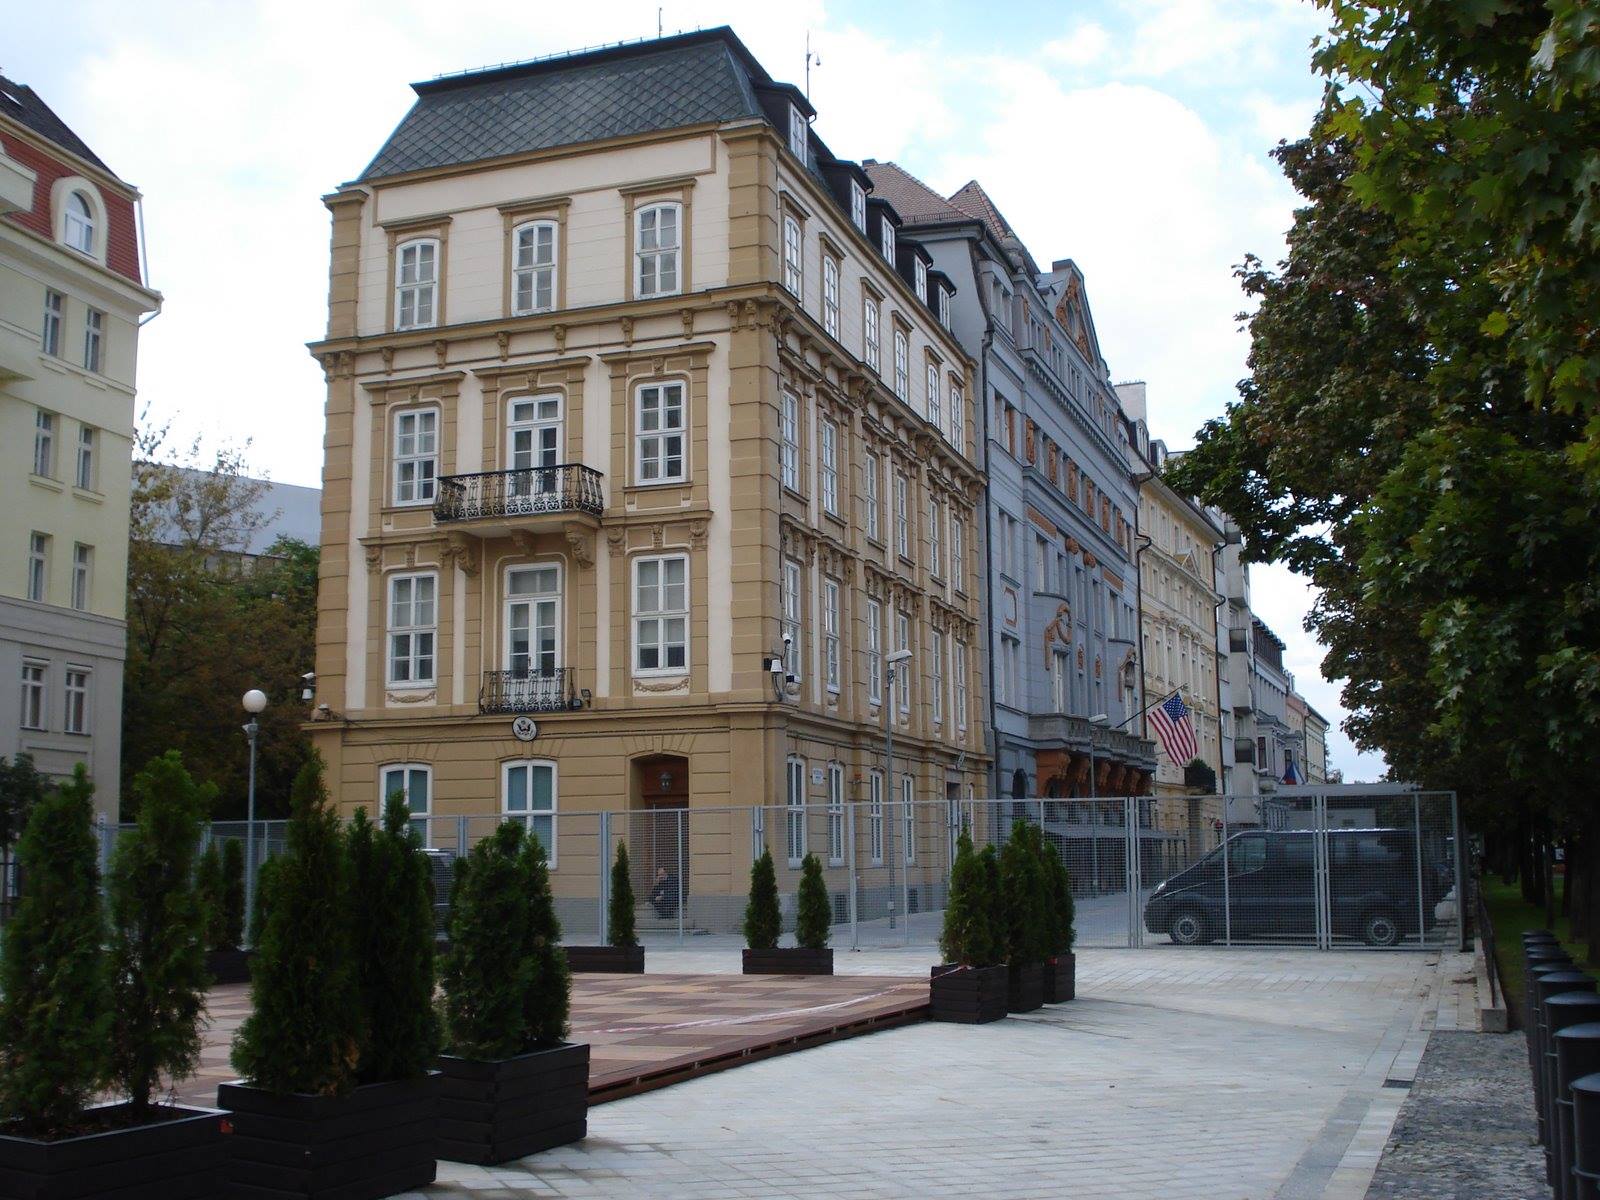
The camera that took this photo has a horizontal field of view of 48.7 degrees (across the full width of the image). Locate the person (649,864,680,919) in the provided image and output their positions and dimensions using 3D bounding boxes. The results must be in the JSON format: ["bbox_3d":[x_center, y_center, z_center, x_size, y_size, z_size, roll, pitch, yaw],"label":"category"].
[{"bbox_3d":[-2.662,5.718,35.087,0.521,1.026,0.651,0,-11,-6],"label":"person"}]
